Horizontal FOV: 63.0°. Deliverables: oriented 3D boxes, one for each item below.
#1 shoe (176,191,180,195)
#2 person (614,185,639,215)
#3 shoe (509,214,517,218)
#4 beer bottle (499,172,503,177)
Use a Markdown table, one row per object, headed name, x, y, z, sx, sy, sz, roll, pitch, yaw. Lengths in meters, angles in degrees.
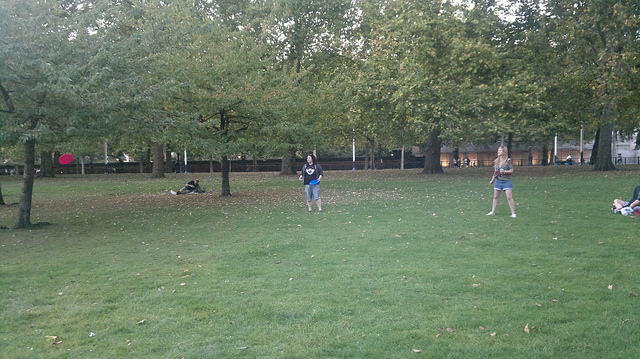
| name | x | y | z | sx | sy | sz | roll | pitch | yaw |
| --- | --- | --- | --- | --- | --- | --- | --- | --- | --- |
| shoe | -9.908 | 0.919 | 36.295 | 0.285 | 0.237 | 0.076 | 1 | -3 | -9 |
| person | 14.589 | 1.010 | 24.945 | 1.024 | 1.283 | 0.971 | -1 | 1 | 27 |
| shoe | 9.191 | 1.744 | 25.019 | 0.176 | 0.172 | 0.442 | 1 | 5 | 9 |
| beer bottle | 8.593 | -0.225 | 24.942 | 0.151 | 0.211 | 0.037 | 0 | 1 | 34 |
